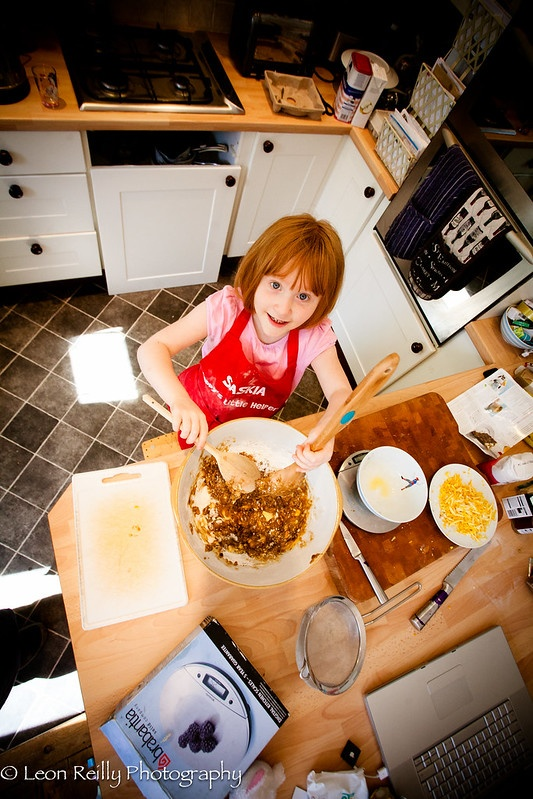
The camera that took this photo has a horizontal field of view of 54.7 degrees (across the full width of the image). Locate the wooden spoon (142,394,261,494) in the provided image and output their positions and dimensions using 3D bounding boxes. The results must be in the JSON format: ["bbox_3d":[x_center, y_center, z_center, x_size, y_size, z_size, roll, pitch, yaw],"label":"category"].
[{"bbox_3d":[-0.132,0.093,1.097,0.240,0.027,0.055,49,57,-14],"label":"wooden spoon"}]

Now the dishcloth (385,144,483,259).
[{"bbox_3d":[0.516,-0.580,1.628,0.212,0.379,0.086,19,83,-3],"label":"dishcloth"}]

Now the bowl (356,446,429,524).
[{"bbox_3d":[0.242,0.179,1.080,0.154,0.057,0.161,7,66,-17],"label":"bowl"}]

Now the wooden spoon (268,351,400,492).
[{"bbox_3d":[0.144,0.032,0.930,0.059,0.386,0.232,46,57,6],"label":"wooden spoon"}]

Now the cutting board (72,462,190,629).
[{"bbox_3d":[-0.262,0.261,0.974,0.184,0.030,0.281,-3,67,-24],"label":"cutting board"}]

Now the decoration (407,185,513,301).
[{"bbox_3d":[0.532,-0.425,1.475,0.051,0.262,0.143,-16,63,-36],"label":"decoration"}]

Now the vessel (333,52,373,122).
[{"bbox_3d":[0.296,-1.108,1.816,0.088,0.195,0.156,8,62,-17],"label":"vessel"}]

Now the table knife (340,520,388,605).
[{"bbox_3d":[0.189,0.329,1.021,0.029,0.016,0.190,-18,66,-15],"label":"table knife"}]

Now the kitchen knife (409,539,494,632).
[{"bbox_3d":[0.381,0.394,1.083,0.044,0.028,0.254,43,68,10],"label":"kitchen knife"}]

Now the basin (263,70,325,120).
[{"bbox_3d":[0.091,-1.074,1.814,0.198,0.069,0.190,9,62,-18],"label":"basin"}]

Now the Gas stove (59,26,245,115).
[{"bbox_3d":[-0.374,-1.051,1.647,0.500,0.105,0.461,-10,67,-19],"label":"Gas stove"}]
